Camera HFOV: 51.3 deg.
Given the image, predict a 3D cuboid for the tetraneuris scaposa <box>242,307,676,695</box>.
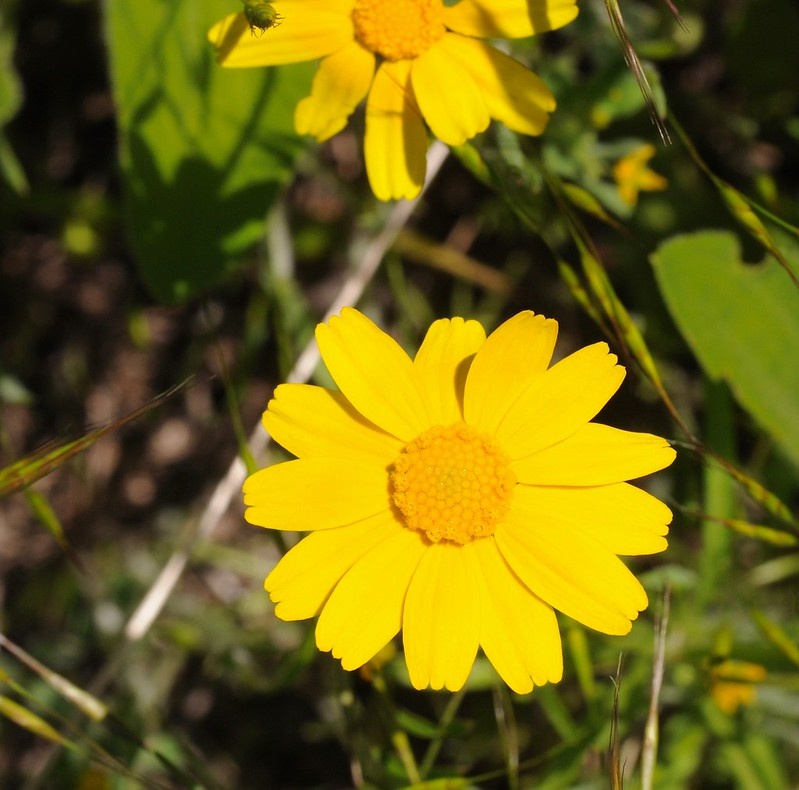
[{"bbox_3d":[0.109,0.164,1.500,0.731,0.740,0.164,17,-35,6],"label":"tetraneuris scaposa"}]
